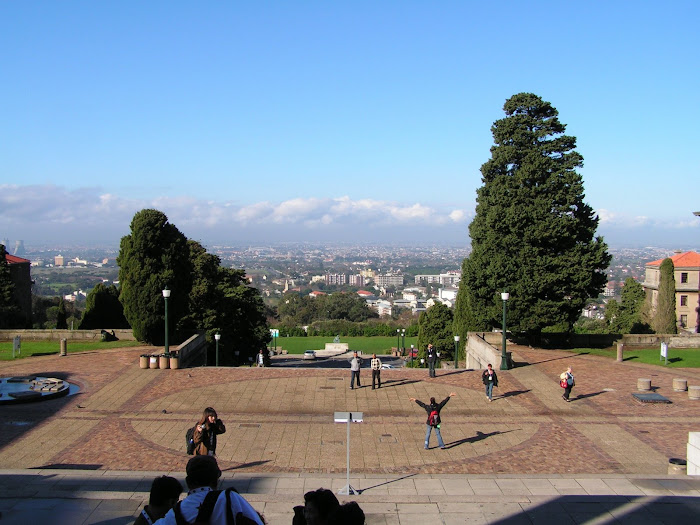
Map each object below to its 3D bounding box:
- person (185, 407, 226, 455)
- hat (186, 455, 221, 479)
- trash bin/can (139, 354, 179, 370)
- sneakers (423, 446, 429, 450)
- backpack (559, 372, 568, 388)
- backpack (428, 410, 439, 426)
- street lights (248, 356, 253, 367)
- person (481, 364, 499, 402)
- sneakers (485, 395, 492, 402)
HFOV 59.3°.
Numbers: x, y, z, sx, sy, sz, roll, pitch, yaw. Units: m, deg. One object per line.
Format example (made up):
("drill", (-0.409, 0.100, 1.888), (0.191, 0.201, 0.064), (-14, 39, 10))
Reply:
("person", (-3.531, 4.087, 14.723), (0.568, 1.239, 0.788), (1, 2, 44))
("hat", (-2.243, 3.075, 9.328), (0.347, 0.445, 0.459), (4, -2, -16))
("trash bin/can", (-8.750, 4.504, 27.941), (1.766, 0.649, 0.314), (-1, 2, 2))
("sneakers", (2.266, 5.567, 18.464), (0.117, 0.106, 0.261), (0, -7, 1))
("backpack", (7.959, 4.406, 22.932), (0.213, 0.611, 0.402), (-1, 2, 13))
("backpack", (2.445, 4.610, 18.179), (0.326, 0.492, 0.213), (-1, 2, 6))
("street lights", (-7.576, 7.400, 46.170), (0.354, 0.675, 1.360), (-1, 2, -6))
("person", (5.391, 4.492, 23.831), (0.449, 1.474, 2.112), (-1, 2, 13))
("sneakers", (5.252, 5.199, 23.425), (0.195, 0.225, 0.545), (-2, -8, 4))
